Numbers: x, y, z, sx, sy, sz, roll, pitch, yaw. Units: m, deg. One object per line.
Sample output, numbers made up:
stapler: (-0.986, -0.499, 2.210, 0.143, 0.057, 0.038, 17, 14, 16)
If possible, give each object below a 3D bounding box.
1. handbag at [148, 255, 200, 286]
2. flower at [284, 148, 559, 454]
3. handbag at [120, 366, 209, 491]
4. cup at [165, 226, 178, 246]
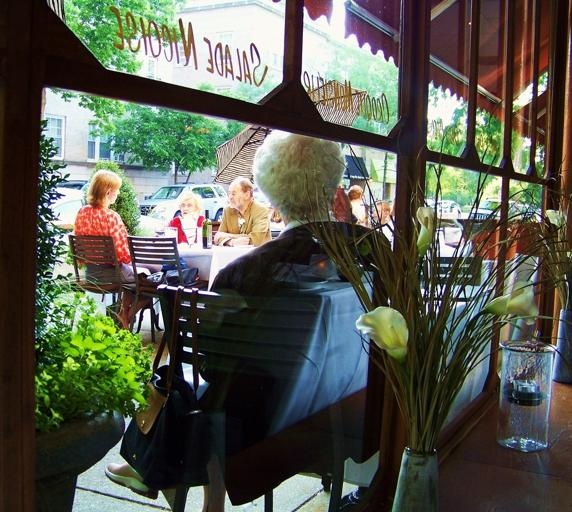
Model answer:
handbag: (-0.566, 0.093, 2.497, 0.221, 0.116, 0.328, 0, -4, 0)
flower: (0.253, 0.162, 0.947, 0.454, 0.632, 0.385, 4, 10, 35)
handbag: (-0.235, 0.333, 0.899, 0.122, 0.242, 0.241, 15, -27, -3)
cup: (-0.744, -0.128, 3.046, 0.096, 0.130, 0.105, 2, 12, 0)
